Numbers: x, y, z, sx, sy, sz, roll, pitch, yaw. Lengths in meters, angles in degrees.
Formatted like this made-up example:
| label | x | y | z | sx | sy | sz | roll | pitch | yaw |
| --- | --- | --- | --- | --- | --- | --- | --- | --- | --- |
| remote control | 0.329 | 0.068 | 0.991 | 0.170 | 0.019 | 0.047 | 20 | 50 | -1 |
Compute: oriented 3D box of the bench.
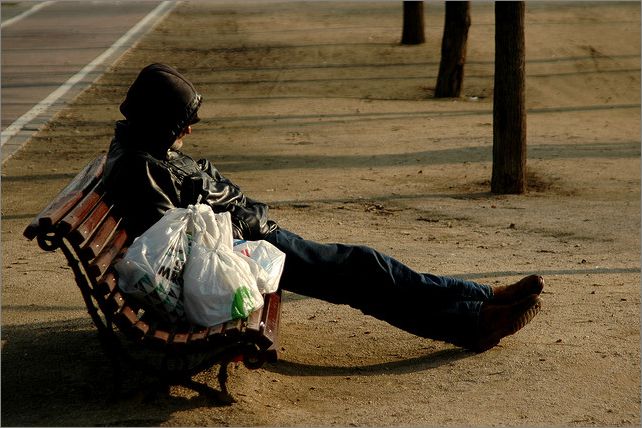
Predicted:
| label | x | y | z | sx | sy | sz | roll | pitch | yaw |
| --- | --- | --- | --- | --- | --- | --- | --- | --- | --- |
| bench | -2.098 | 0.726 | 15.105 | 3.389 | 2.107 | 4.063 | 10 | 16 | -2 |
